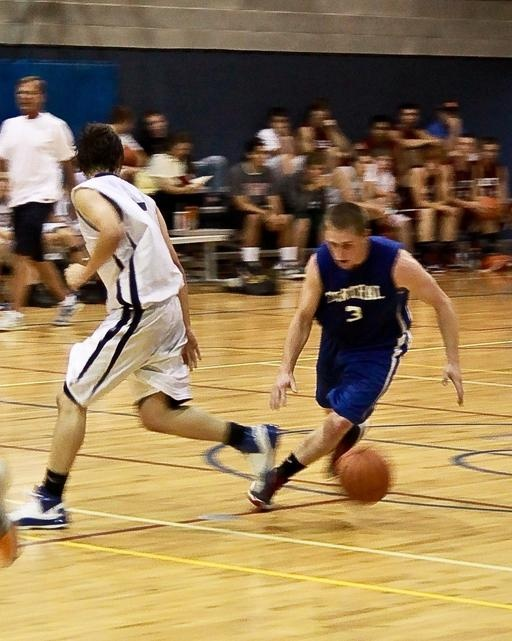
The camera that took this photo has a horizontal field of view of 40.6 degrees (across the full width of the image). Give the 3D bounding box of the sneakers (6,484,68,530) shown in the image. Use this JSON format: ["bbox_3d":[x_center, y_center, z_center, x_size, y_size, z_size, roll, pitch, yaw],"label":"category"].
[{"bbox_3d":[-0.693,0.593,2.234,0.263,0.144,0.084,-6,-4,22],"label":"sneakers"}]

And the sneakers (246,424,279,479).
[{"bbox_3d":[0.021,0.473,2.503,0.130,0.174,0.051,-4,-7,26],"label":"sneakers"}]

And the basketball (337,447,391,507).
[{"bbox_3d":[0.377,0.548,2.434,0.182,0.193,0.176,-2,-3,-14],"label":"basketball"}]
